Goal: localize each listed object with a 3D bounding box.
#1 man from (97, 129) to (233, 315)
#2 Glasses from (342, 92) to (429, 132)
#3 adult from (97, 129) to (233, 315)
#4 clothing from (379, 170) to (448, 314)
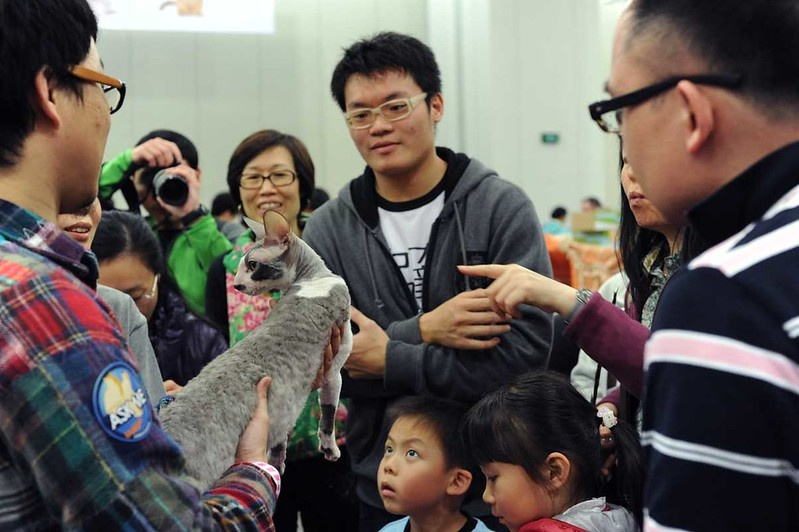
[{"bbox_3d":[-1.687,-0.374,5.667,0.991,1.346,0.527,-10,23,-2],"label":"man"},{"bbox_3d":[-0.080,-0.822,4.038,0.263,0.079,0.267,-16,6,28],"label":"Glasses"},{"bbox_3d":[-1.649,-0.346,5.611,0.991,1.346,0.527,-10,23,-2],"label":"adult"},{"bbox_3d":[0.058,-0.132,4.057,0.373,0.666,0.160,-7,-9,5],"label":"clothing"}]
